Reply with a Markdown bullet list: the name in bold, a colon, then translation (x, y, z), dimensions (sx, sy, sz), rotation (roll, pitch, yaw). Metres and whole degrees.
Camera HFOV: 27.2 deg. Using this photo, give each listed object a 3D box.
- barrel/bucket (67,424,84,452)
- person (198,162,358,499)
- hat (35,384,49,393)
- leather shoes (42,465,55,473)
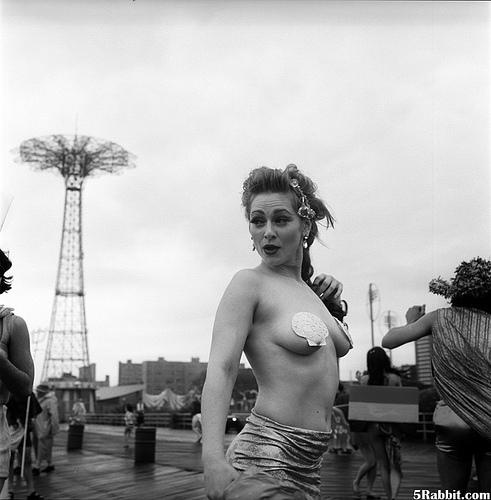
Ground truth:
- **barrel/bucket**: translation (-1.762, 1.945, 10.553), dimensions (0.220, 0.291, 0.090), rotation (-9, -13, 37)
- **person**: translation (0.171, 0.447, 5.645), dimensions (0.920, 1.840, 0.481), rotation (2, -10, -15)
- **hat**: translation (-2.147, 1.454, 10.681), dimensions (0.110, 0.043, 0.101), rotation (-14, -19, 35)
- **leather shoes**: translation (-2.019, 2.234, 10.361), dimensions (0.048, 0.064, 0.156), rotation (18, -15, -34)
